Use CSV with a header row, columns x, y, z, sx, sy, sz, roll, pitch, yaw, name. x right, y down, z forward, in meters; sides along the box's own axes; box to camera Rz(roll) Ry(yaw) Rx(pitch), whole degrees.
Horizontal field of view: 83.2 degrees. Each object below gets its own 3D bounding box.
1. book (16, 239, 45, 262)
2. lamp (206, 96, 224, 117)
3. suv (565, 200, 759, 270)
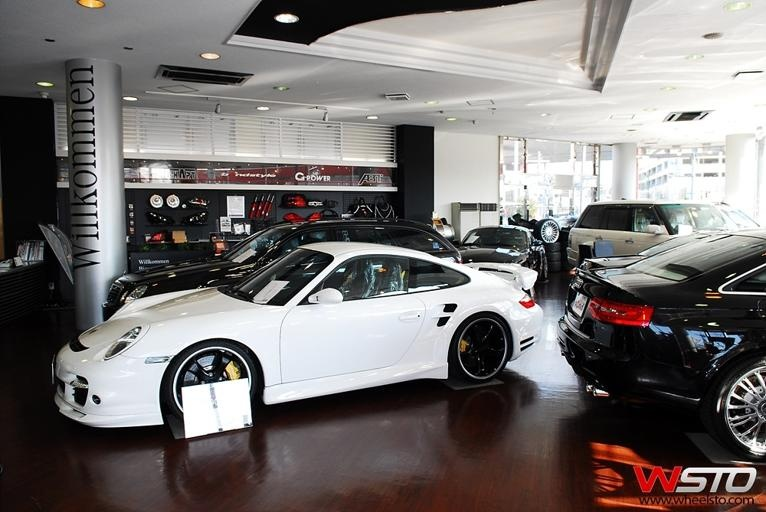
x,y,z,sx,sy,sz,roll,pitch,yaw,name
-6.875,-0.102,8.470,0.635,0.073,0.569,1,44,-17,book
-3.770,-3.413,9.859,0.456,0.458,0.369,-2,10,-9,lamp
5.322,-0.507,9.341,1.881,1.088,3.425,-2,1,-21,suv
